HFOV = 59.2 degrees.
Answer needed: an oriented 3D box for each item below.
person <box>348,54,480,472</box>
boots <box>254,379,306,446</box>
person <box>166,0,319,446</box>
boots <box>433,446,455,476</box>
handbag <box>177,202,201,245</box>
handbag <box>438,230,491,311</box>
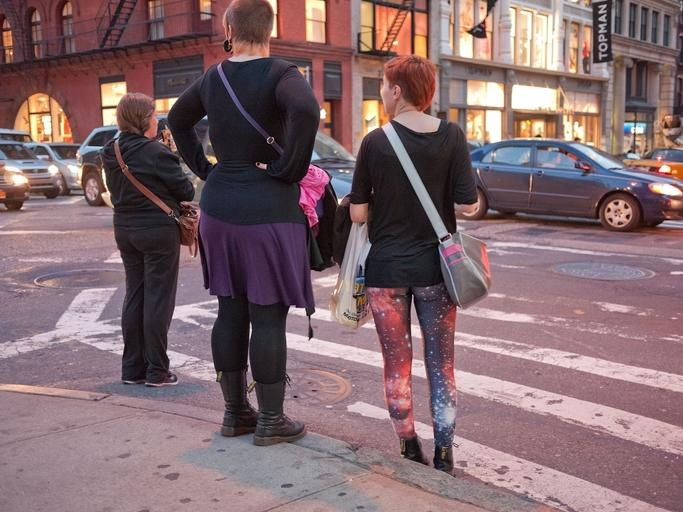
[{"bbox_3d":[0.391,0.110,3.361,0.713,2.434,0.416,0,7,5],"label":"person"},{"bbox_3d":[-0.372,0.927,3.587,0.173,0.365,0.385,-7,-10,41],"label":"boots"},{"bbox_3d":[-0.545,-0.190,3.524,0.919,2.551,0.383,4,8,33],"label":"person"},{"bbox_3d":[0.570,1.140,3.415,0.114,0.167,0.169,1,10,8],"label":"boots"},{"bbox_3d":[-1.199,-0.242,4.633,0.163,0.287,0.299,-1,11,-7],"label":"handbag"},{"bbox_3d":[0.689,0.087,3.310,0.259,0.431,0.329,-18,-18,12],"label":"handbag"}]
